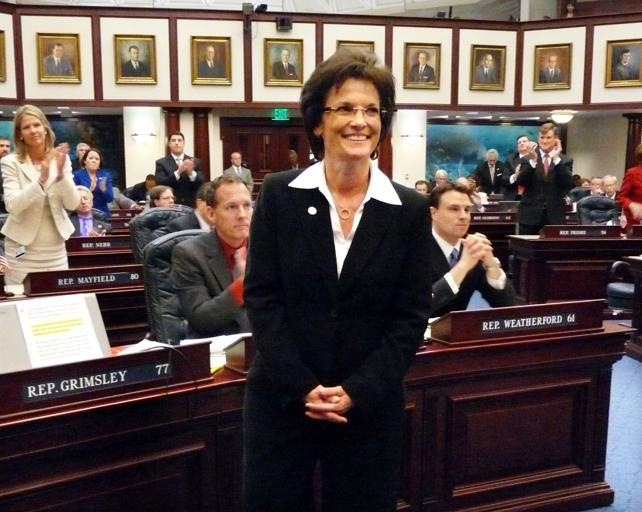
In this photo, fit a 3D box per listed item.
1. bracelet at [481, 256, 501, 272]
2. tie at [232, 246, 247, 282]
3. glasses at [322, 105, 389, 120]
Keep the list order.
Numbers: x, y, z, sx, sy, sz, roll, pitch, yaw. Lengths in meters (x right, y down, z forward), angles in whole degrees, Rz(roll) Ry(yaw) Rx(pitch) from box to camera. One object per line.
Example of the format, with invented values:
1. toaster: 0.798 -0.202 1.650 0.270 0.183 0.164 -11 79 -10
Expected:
1. bracelet: 0.890 0.039 2.672 0.083 0.047 0.101 -1 3 -1
2. tie: -0.396 0.042 2.461 0.059 0.159 0.122 18 -25 -36
3. glasses: 0.080 -0.371 1.317 0.137 0.033 0.050 -3 10 -5
